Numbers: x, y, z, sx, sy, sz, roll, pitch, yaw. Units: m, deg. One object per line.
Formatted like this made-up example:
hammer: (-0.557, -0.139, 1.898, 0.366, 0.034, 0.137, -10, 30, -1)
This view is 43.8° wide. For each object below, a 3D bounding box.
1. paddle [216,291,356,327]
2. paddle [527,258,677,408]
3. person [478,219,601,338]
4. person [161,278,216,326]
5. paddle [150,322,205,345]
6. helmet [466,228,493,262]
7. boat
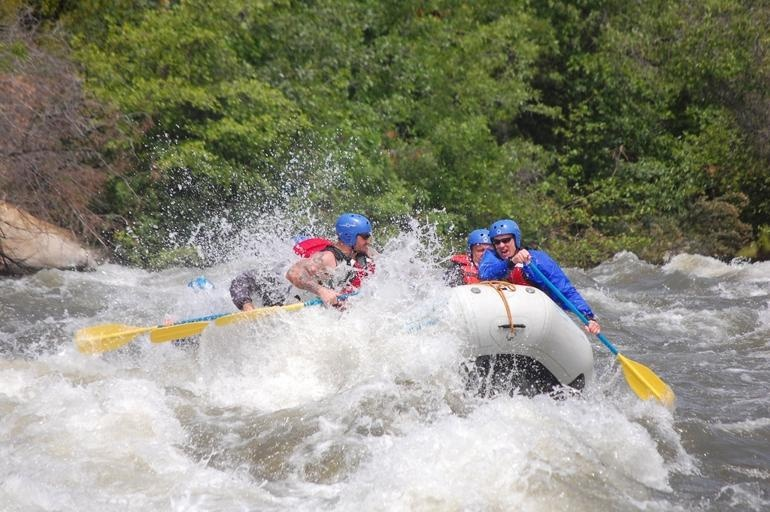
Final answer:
paddle: (-1.600, 0.935, 16.740, 2.661, 0.190, 0.397, -9, 89, -1)
paddle: (3.635, 1.402, 16.349, 3.346, 0.544, 0.210, 43, 95, -10)
person: (2.548, 0.219, 17.357, 1.478, 0.873, 2.439, -16, 53, -3)
person: (-3.735, 0.814, 17.694, 1.225, 0.513, 0.531, -19, 74, 28)
paddle: (-3.617, 1.321, 16.679, 1.181, 0.175, 0.385, -8, 100, -4)
helmet: (1.713, -0.198, 17.870, 0.405, 0.557, 0.590, 1, 98, -8)
boat: (0.314, 1.292, 16.115, 5.508, 3.516, 1.181, -3, 104, -8)
